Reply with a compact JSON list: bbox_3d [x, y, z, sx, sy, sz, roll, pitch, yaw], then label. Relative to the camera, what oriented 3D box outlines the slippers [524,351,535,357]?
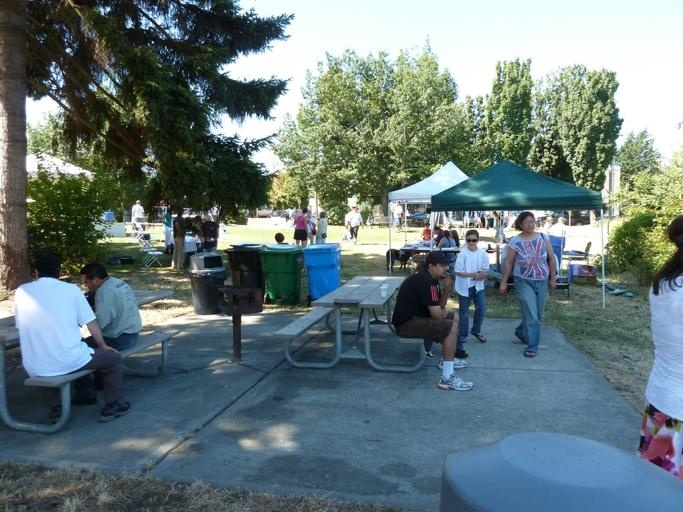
[{"bbox_3d":[2.597,1.355,7.875,0.036,0.057,0.139,-1,-3,-18],"label":"slippers"}]

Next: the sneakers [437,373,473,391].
[{"bbox_3d":[1.346,1.488,6.770,0.415,0.192,0.170,0,0,4],"label":"sneakers"}]

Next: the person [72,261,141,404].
[{"bbox_3d":[-2.786,0.821,6.760,0.817,1.516,0.700,7,12,18],"label":"person"}]

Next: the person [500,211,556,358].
[{"bbox_3d":[2.656,0.368,8.086,0.748,1.980,0.941,3,11,19],"label":"person"}]

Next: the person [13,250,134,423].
[{"bbox_3d":[-2.926,0.866,5.987,0.916,1.803,0.975,-6,-5,4],"label":"person"}]

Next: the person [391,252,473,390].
[{"bbox_3d":[1.105,0.726,7.029,0.936,1.564,0.960,0,10,3],"label":"person"}]

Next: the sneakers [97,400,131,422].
[{"bbox_3d":[-2.393,1.630,6.010,0.137,0.157,0.365,4,5,18],"label":"sneakers"}]

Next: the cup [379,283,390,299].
[{"bbox_3d":[0.617,0.484,8.169,0.105,0.158,0.166,0,-4,12],"label":"cup"}]

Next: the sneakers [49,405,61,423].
[{"bbox_3d":[-2.987,1.647,5.938,0.145,0.173,0.187,6,-10,-12],"label":"sneakers"}]

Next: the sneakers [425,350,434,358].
[{"bbox_3d":[1.237,1.376,7.976,0.069,0.080,0.189,5,1,23],"label":"sneakers"}]
